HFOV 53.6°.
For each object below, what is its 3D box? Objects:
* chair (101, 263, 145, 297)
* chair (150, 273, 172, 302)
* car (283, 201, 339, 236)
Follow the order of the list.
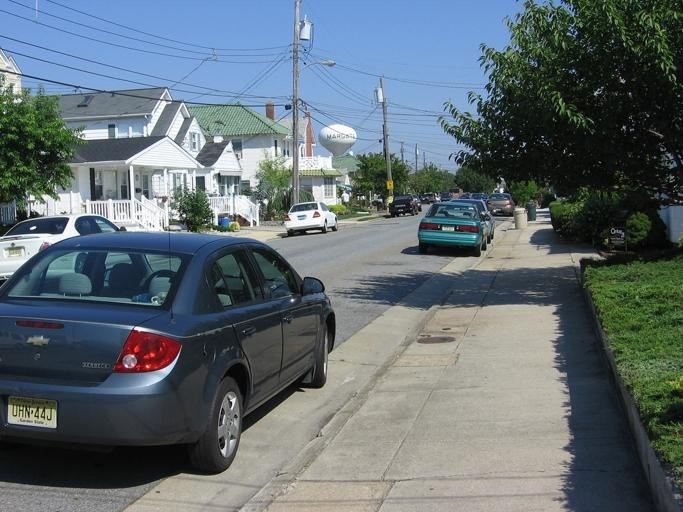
[{"bbox_3d":[-1.908,0.188,5.872,0.258,0.315,0.334,3,4,11],"label":"chair"},{"bbox_3d":[-1.550,0.257,5.699,0.170,0.204,0.221,0,-2,3],"label":"chair"},{"bbox_3d":[-1.523,-2.153,36.945,1.374,1.038,3.229,-1,6,20],"label":"car"}]
